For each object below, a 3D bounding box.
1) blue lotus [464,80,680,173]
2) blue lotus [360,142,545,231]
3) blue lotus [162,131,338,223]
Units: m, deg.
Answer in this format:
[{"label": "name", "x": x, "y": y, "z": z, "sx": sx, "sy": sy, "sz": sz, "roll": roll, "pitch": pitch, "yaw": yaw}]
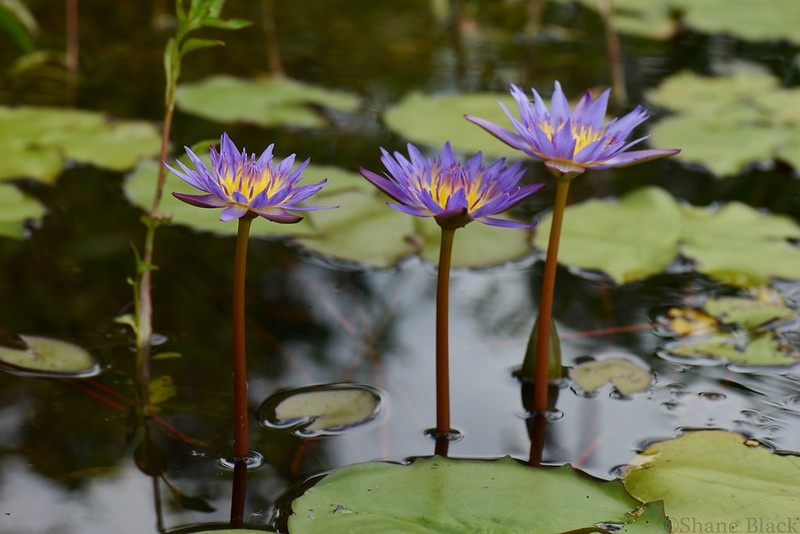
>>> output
[{"label": "blue lotus", "x": 0.322, "y": -0.247, "z": 1.632, "sx": 0.277, "sy": 0.113, "sz": 0.230, "roll": -6, "pitch": 14, "yaw": -40}, {"label": "blue lotus", "x": 0.104, "y": -0.125, "z": 1.663, "sx": 0.244, "sy": 0.244, "sz": 0.094, "roll": 10, "pitch": 67, "yaw": -10}, {"label": "blue lotus", "x": -0.307, "y": -0.146, "z": 1.647, "sx": 0.344, "sy": 0.343, "sz": 0.102, "roll": 7, "pitch": 77, "yaw": -29}]
